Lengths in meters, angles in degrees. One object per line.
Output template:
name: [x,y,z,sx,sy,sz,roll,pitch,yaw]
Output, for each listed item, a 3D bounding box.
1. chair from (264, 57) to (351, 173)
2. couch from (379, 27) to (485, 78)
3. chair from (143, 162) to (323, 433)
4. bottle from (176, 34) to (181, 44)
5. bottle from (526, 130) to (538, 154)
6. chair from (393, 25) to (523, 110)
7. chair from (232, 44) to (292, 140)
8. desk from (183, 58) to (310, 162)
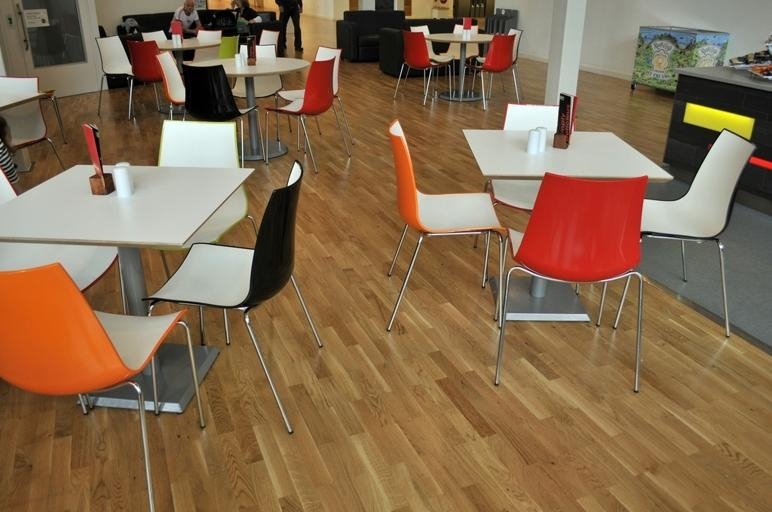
chair: [-0.857,-1.729,5.876,0.950,1.072,1.589,-5,30,-11]
couch: [0.742,-3.344,8.603,1.350,0.956,0.790,-7,36,-15]
chair: [-0.890,0.303,2.988,0.911,1.435,0.826,9,36,-1]
bottle: [-2.836,-2.990,7.180,0.064,0.097,0.148,-4,30,-9]
bottle: [0.940,-0.722,3.319,0.064,0.138,0.067,1,29,0]
chair: [0.852,-3.197,8.316,1.390,1.161,2.274,1,30,0]
chair: [-1.423,-2.057,6.455,0.812,0.810,0.752,0,33,-4]
desk: [-1.422,-1.802,5.846,1.269,0.974,1.322,-4,31,-6]
